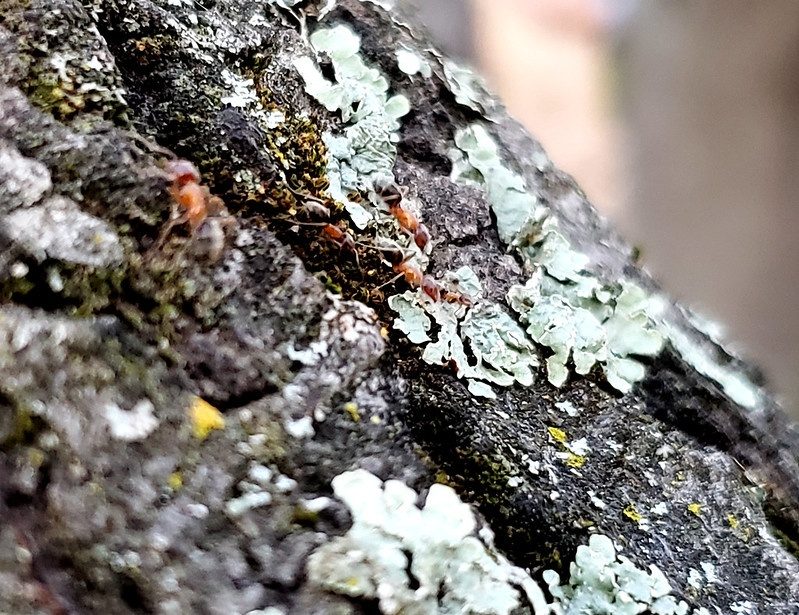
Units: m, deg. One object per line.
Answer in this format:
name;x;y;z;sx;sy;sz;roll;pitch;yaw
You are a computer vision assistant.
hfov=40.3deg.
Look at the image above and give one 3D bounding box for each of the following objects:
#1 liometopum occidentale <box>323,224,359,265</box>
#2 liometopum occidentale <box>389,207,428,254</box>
liometopum occidentale;-0.137;-0.154;2.584;0.092;0.052;0.022;52;-27;-16
liometopum occidentale;0.029;-0.203;2.681;0.122;0.029;0.071;56;34;-12
